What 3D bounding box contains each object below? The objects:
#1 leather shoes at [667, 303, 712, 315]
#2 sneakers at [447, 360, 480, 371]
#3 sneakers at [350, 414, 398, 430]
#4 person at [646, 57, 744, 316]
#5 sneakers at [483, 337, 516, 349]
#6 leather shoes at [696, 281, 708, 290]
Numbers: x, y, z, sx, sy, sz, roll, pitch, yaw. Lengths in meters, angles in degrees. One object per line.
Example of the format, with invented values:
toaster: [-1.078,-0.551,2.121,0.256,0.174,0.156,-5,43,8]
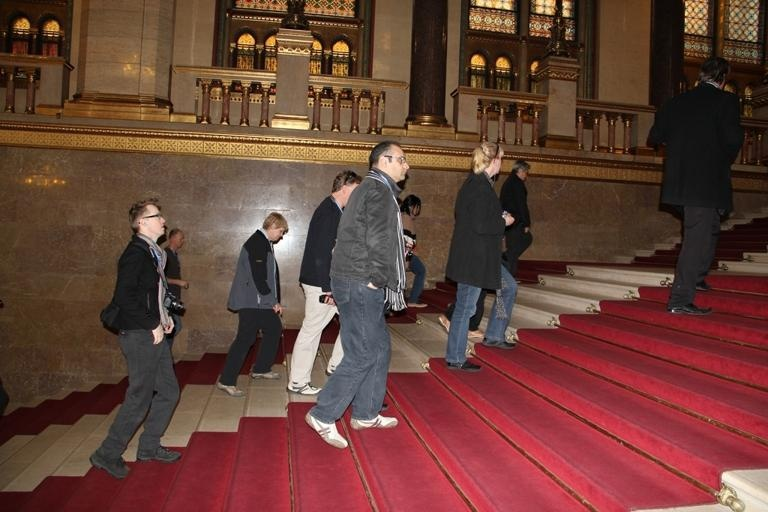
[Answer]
leather shoes: [3.834,0.647,7.092,0.438,0.186,0.165,-1,0,13]
sneakers: [1.043,1.437,7.351,0.388,0.162,0.169,-2,2,4]
sneakers: [-0.113,1.861,6.463,0.503,0.213,0.204,-1,0,-12]
person: [4.019,-0.960,7.310,1.032,3.303,0.998,3,8,16]
sneakers: [1.589,1.211,7.807,0.410,0.186,0.163,-1,2,0]
leather shoes: [4.245,0.404,7.545,0.087,0.114,0.250,1,-2,20]
